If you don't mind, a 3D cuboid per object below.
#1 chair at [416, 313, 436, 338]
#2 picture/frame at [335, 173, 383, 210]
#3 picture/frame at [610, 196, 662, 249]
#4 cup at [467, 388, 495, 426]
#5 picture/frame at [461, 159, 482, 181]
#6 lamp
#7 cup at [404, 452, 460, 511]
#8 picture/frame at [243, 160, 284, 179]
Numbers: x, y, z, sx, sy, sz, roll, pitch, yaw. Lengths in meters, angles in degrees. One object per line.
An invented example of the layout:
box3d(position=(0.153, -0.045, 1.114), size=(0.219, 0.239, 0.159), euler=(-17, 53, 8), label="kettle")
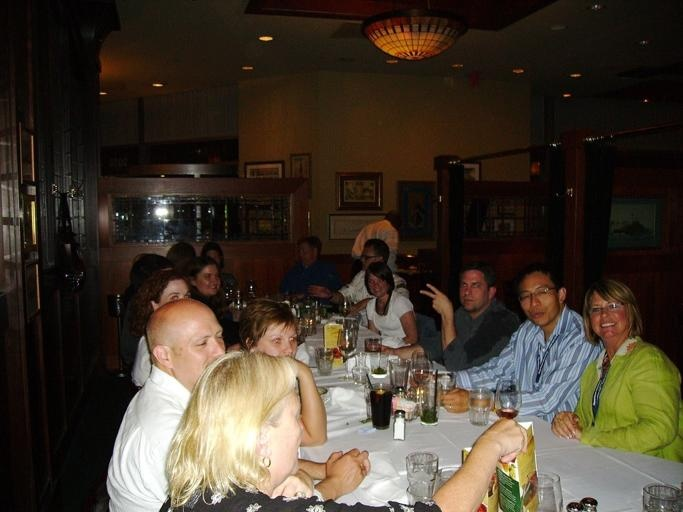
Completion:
box3d(position=(0.694, 0.583, 4.207), size=(0.106, 0.193, 0.114), euler=(-31, -40, 33), label="chair")
box3d(position=(0.285, -0.999, 7.971), size=(0.701, 0.609, 0.059), euler=(0, -14, 0), label="picture/frame")
box3d(position=(3.268, -0.388, 5.682), size=(0.550, 0.497, 0.046), euler=(1, 8, -12), label="picture/frame")
box3d(position=(0.625, 0.676, 2.285), size=(0.130, 0.162, 0.140), euler=(1, -7, 0), label="cup")
box3d(position=(2.121, -1.382, 8.323), size=(0.223, 0.308, 0.443), euler=(1, 4, 29), label="picture/frame")
box3d(position=(0.711, -2.207, 5.208), size=(0.877, 0.285, 0.914), euler=(-9, 14, -22), label="lamp")
box3d(position=(0.328, 0.789, 1.840), size=(0.208, 0.222, 0.125), euler=(0, 4, -12), label="cup")
box3d(position=(-1.267, -1.395, 8.223), size=(0.847, 0.279, 0.215), euler=(2, 4, 42), label="picture/frame")
